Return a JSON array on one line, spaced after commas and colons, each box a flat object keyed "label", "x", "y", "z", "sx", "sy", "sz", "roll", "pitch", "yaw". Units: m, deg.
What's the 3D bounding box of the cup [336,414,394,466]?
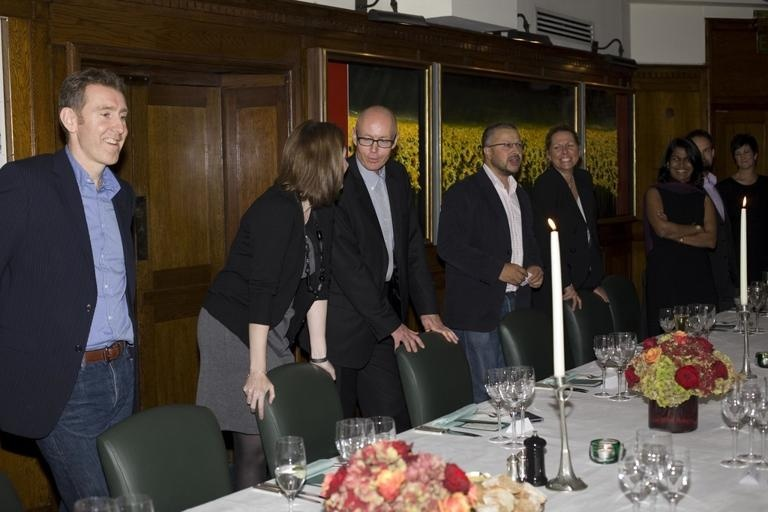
[{"label": "cup", "x": -0.073, "y": 0.603, "z": 2.141, "sx": 0.141, "sy": 0.127, "sz": 0.168, "roll": -1, "pitch": -8, "yaw": 9}]

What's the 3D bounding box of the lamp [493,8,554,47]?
[{"label": "lamp", "x": 1.299, "y": -2.161, "z": 6.041, "sx": 0.395, "sy": 0.178, "sz": 0.408, "roll": -9, "pitch": 27, "yaw": -28}]

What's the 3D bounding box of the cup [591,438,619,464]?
[{"label": "cup", "x": 0.782, "y": 0.688, "z": 2.288, "sx": 0.077, "sy": 0.056, "sz": 0.083, "roll": 0, "pitch": -4, "yaw": 0}]

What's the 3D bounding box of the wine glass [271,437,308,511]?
[{"label": "wine glass", "x": -0.287, "y": 0.685, "z": 2.013, "sx": 0.088, "sy": 0.241, "sz": 0.103, "roll": -1, "pitch": 2, "yaw": 9}]

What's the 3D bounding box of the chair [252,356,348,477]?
[{"label": "chair", "x": -0.354, "y": 0.651, "z": 2.937, "sx": 0.456, "sy": 0.646, "sz": 0.402, "roll": 1, "pitch": -4, "yaw": -40}]

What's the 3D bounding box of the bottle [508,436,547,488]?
[{"label": "bottle", "x": 0.478, "y": 0.676, "z": 2.144, "sx": 0.132, "sy": 0.178, "sz": 0.148, "roll": -2, "pitch": -8, "yaw": -9}]

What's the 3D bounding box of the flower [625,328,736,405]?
[{"label": "flower", "x": 1.154, "y": 0.415, "z": 2.586, "sx": 0.410, "sy": 0.203, "sz": 0.406, "roll": -1, "pitch": 22, "yaw": 37}]
